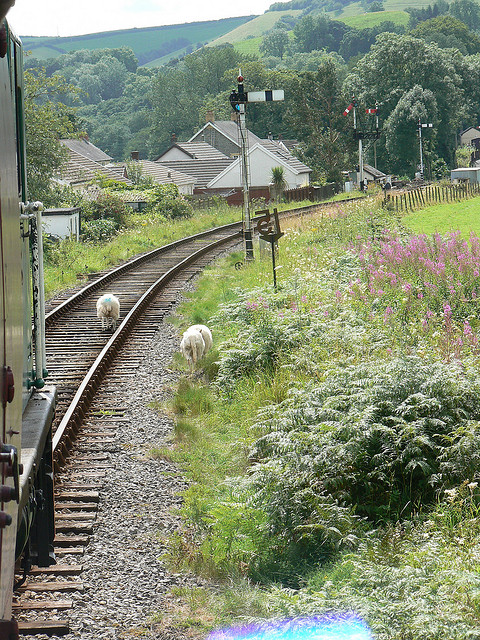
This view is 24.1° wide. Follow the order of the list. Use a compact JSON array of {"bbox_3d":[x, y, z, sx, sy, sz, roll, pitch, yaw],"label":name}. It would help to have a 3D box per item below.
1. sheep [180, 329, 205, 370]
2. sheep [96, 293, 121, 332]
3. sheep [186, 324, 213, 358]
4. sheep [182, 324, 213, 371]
[{"bbox_3d":[-0.636,0.402,14.298,0.200,0.532,0.821,0,2,-10],"label":"sheep"},{"bbox_3d":[-1.942,-0.154,16.716,0.184,0.532,0.726,-1,-2,-3],"label":"sheep"},{"bbox_3d":[-0.482,0.224,14.660,0.173,0.416,0.482,-1,9,-14],"label":"sheep"},{"bbox_3d":[-0.587,0.381,14.311,0.228,0.574,0.852,1,4,-2],"label":"sheep"}]
